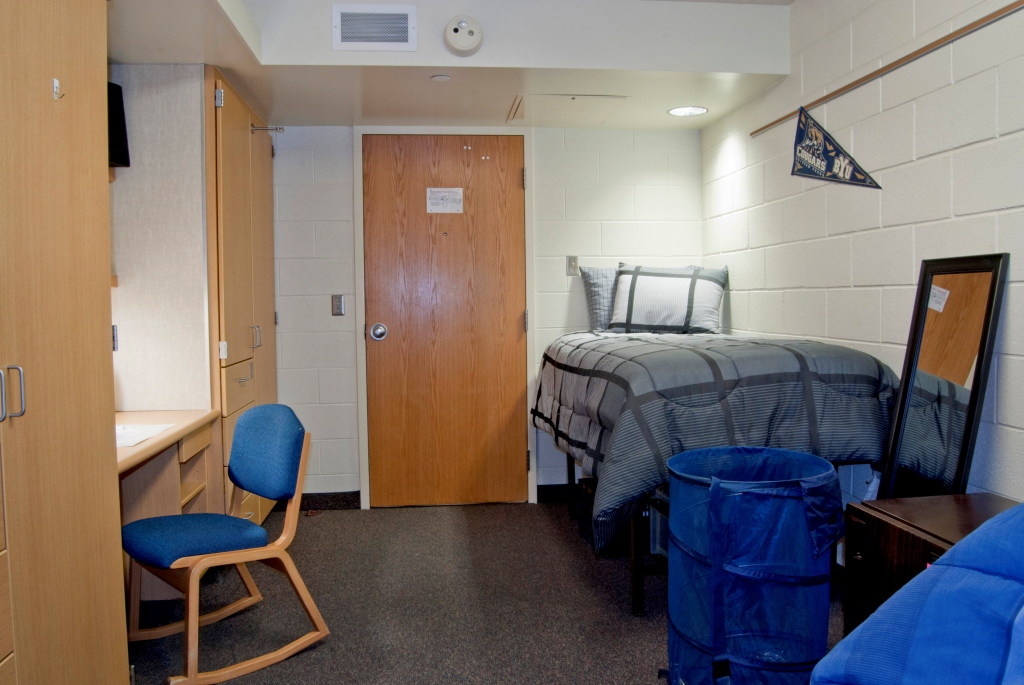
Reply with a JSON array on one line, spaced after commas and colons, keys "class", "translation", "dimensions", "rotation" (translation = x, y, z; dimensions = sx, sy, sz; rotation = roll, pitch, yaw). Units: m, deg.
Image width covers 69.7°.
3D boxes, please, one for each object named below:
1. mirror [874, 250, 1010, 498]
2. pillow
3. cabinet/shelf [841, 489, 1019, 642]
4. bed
[{"class": "mirror", "translation": [1.631, 0.137, 2.782], "dimensions": [0.327, 0.944, 0.293], "rotation": [8, 13, 39]}, {"class": "pillow", "translation": [0.792, -0.244, 4.200], "dimensions": [0.851, 0.363, 0.406], "rotation": [2, 10, 15]}, {"class": "cabinet/shelf", "translation": [1.399, 0.731, 2.692], "dimensions": [0.653, 0.497, 0.674], "rotation": [-4, -6, 43]}, {"class": "bed", "translation": [0.876, 0.526, 3.159], "dimensions": [1.057, 0.517, 1.067], "rotation": [4, 0, -16]}]
